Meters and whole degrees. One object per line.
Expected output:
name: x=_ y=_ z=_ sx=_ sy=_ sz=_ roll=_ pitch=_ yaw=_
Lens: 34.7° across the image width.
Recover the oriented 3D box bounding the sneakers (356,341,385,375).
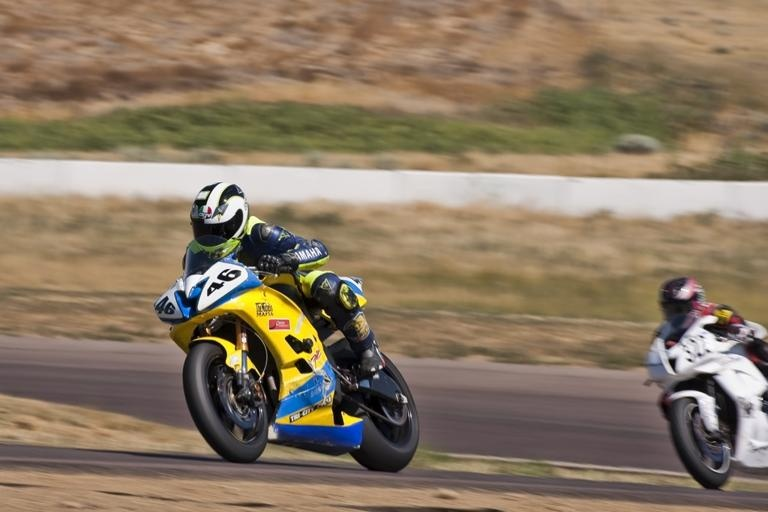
sneakers: x=-0.138 y=1.171 z=14.269 sx=0.250 sy=0.373 sz=0.180 roll=9 pitch=1 yaw=1
